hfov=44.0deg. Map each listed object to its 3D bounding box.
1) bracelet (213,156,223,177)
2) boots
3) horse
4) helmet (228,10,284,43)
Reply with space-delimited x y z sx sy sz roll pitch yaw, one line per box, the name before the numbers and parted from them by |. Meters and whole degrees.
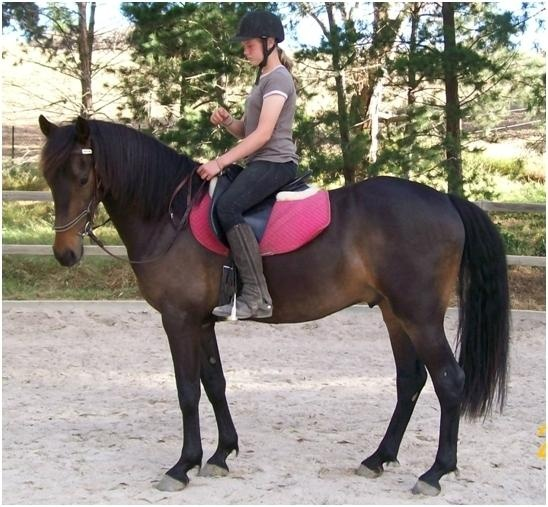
bracelet | -0.405 -0.637 4.807 0.027 0.106 0.094 -2 -9 8
boots | -0.210 0.132 4.628 0.389 0.683 0.193 0 8 -4
horse | 0.137 0.356 4.828 3.079 2.550 1.040 2 9 10
helmet | -0.130 -1.624 4.871 0.455 0.251 0.342 -11 15 -20
